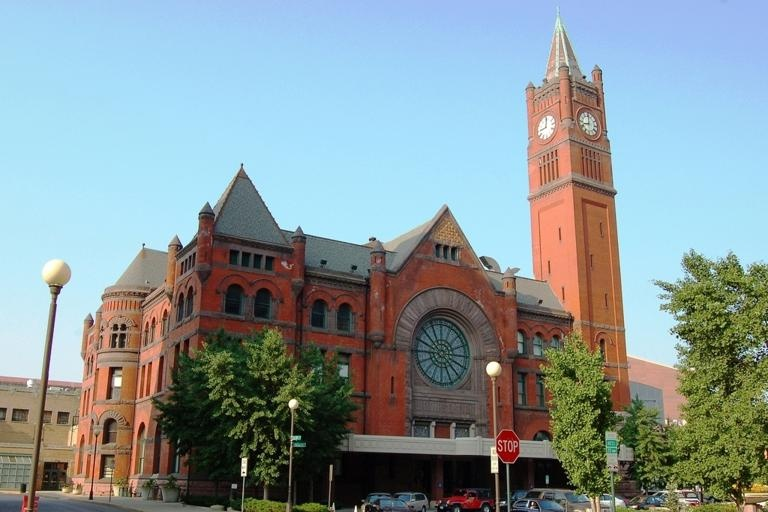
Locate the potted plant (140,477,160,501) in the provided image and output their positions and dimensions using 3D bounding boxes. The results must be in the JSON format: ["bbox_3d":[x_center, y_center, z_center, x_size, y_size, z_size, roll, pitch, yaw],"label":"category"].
[{"bbox_3d":[-20.262,20.059,67.206,1.637,2.256,2.038,-5,-13,17],"label":"potted plant"}]

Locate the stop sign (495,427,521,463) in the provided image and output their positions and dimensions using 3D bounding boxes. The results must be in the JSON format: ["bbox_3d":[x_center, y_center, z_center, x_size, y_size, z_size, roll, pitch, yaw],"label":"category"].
[{"bbox_3d":[6.568,10.090,41.896,1.083,1.751,1.417,-4,-24,10],"label":"stop sign"}]

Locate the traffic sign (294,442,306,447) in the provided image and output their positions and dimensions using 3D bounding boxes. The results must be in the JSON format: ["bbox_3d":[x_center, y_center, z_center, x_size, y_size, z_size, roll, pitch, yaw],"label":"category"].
[{"bbox_3d":[-5.852,13.033,54.090,0.850,0.239,0.812,1,0,-1],"label":"traffic sign"}]

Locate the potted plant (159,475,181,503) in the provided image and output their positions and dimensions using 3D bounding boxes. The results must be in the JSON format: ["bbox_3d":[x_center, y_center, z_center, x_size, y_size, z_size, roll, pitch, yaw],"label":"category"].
[{"bbox_3d":[-17.495,19.072,63.899,2.008,2.204,2.113,13,-29,-23],"label":"potted plant"}]

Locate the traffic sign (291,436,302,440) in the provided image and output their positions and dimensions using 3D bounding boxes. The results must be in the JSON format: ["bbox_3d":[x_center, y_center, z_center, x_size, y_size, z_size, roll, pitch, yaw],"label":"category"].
[{"bbox_3d":[-6.005,12.323,52.991,0.686,0.400,0.101,0,-11,16],"label":"traffic sign"}]
